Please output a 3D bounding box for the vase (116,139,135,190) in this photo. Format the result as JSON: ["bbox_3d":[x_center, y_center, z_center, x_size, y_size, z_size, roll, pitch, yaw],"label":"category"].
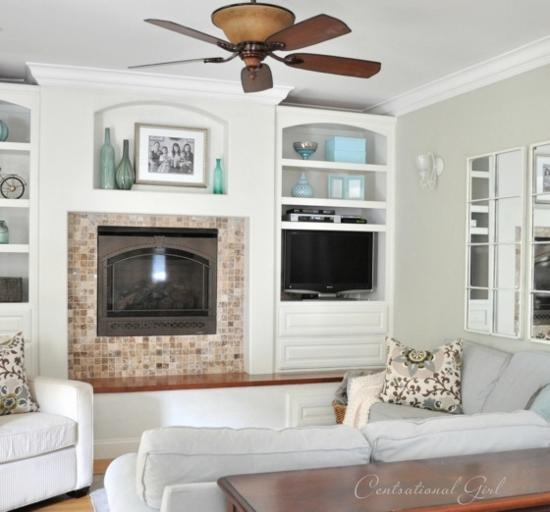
[{"bbox_3d":[-1.216,-0.742,4.372,0.139,0.409,0.156,9,11,23],"label":"vase"}]

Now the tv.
[{"bbox_3d":[0.466,0.077,4.987,0.885,0.468,0.078,1,3,-15],"label":"tv"}]

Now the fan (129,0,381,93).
[{"bbox_3d":[-0.005,-0.914,2.302,0.742,0.197,0.704,0,0,21],"label":"fan"}]

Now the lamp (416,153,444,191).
[{"bbox_3d":[1.012,-0.560,3.530,0.162,0.235,0.244,7,9,14],"label":"lamp"}]

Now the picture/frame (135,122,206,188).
[{"bbox_3d":[-0.909,-0.839,4.502,0.750,0.472,0.048,1,-3,-23],"label":"picture/frame"}]

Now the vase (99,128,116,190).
[{"bbox_3d":[-1.343,-0.776,4.313,0.130,0.487,0.259,2,10,-18],"label":"vase"}]

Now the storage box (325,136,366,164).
[{"bbox_3d":[0.667,-0.981,5.090,0.355,0.187,0.310,0,0,-18],"label":"storage box"}]

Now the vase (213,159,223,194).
[{"bbox_3d":[-0.479,-0.678,4.590,0.100,0.300,0.217,4,9,-7],"label":"vase"}]
